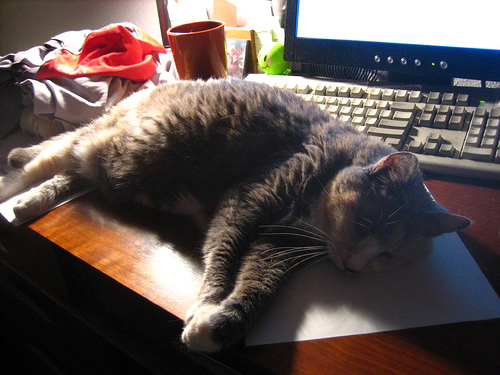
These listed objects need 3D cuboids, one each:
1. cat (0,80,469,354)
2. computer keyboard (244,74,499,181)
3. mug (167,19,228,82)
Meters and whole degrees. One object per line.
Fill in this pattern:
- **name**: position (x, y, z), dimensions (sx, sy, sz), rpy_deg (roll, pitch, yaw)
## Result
- **cat**: position (-0.052, 0.016, 0.702), dimensions (0.661, 0.215, 0.417), rpy_deg (17, 43, 14)
- **computer keyboard**: position (0.313, -0.130, 0.753), dimensions (0.451, 0.067, 0.219), rpy_deg (12, 48, 22)
- **mug**: position (-0.105, -0.304, 0.884), dimensions (0.099, 0.114, 0.148), rpy_deg (24, 38, 34)
